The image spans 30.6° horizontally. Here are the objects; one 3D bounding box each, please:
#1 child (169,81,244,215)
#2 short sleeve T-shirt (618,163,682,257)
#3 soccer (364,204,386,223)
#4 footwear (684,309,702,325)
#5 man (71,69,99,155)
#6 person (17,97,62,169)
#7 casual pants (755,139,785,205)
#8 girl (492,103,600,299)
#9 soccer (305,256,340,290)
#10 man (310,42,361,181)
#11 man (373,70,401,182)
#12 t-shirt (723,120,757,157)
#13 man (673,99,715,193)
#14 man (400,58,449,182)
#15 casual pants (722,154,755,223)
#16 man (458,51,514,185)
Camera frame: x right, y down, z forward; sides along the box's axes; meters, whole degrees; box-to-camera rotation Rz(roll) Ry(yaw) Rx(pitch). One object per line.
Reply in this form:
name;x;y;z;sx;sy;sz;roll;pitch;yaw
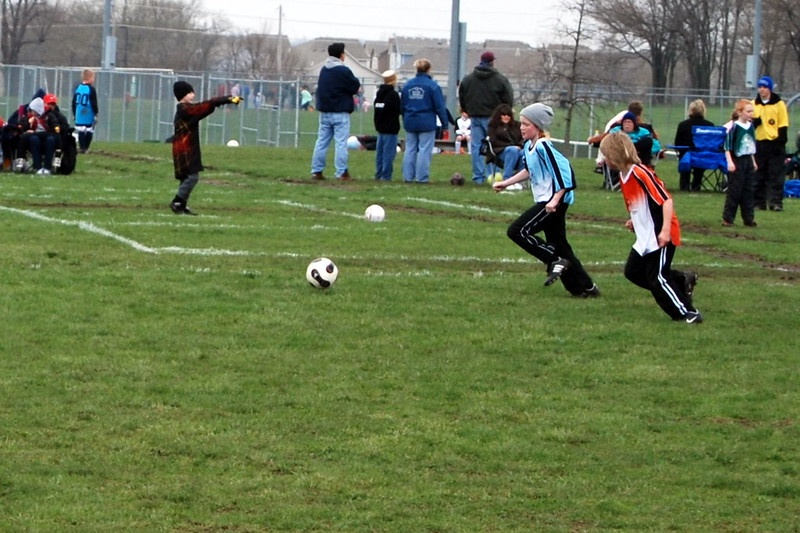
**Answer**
child;-3.290;-1.919;23.742;0.820;2.140;1.566;0;14;-9
short sleeve T-shirt;3.228;-0.749;19.430;0.639;1.189;0.293;13;17;36
soccer;-0.406;-0.879;23.908;0.330;0.248;0.557;3;15;0
footwear;3.844;0.699;19.310;0.176;0.196;0.439;-1;-4;8
man;-6.998;-3.492;32.586;0.515;1.977;1.468;-1;15;-13
person;-6.896;-2.528;28.214;0.750;1.627;0.944;0;-13;-29
casual pants;6.876;-1.878;27.232;0.682;1.464;0.490;-4;-3;27
girl;2.050;-0.907;20.132;0.902;2.591;1.348;-10;19;-42
soccer;-1.047;0.111;19.982;0.414;0.401;0.409;-3;7;2
man;-1.257;-3.001;28.478;0.839;2.792;1.610;2;14;-4
man;-0.243;-2.746;28.641;0.503;2.199;1.125;3;14;0
t-shirt;5.646;-2.135;24.373;0.739;0.713;0.415;-3;4;-10
man;5.828;-2.368;29.323;0.837;2.072;0.720;-9;24;-17
man;0.471;-2.824;28.409;0.926;2.459;1.042;3;14;0
casual pants;5.701;-1.297;24.610;0.560;1.227;0.391;-3;9;-5
man;1.712;-2.923;28.915;1.120;2.606;1.099;0;4;8
